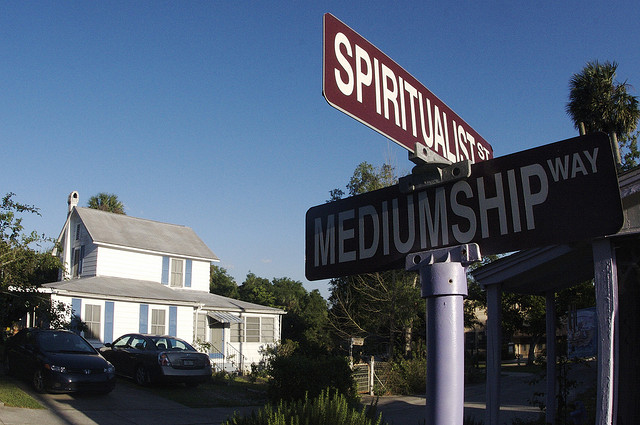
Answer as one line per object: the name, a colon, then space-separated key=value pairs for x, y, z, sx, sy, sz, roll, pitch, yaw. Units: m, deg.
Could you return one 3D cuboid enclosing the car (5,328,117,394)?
car: x=-8.961 y=5.021 z=21.831 sx=3.758 sy=2.204 sz=1.874 roll=-9 pitch=-19 yaw=27
